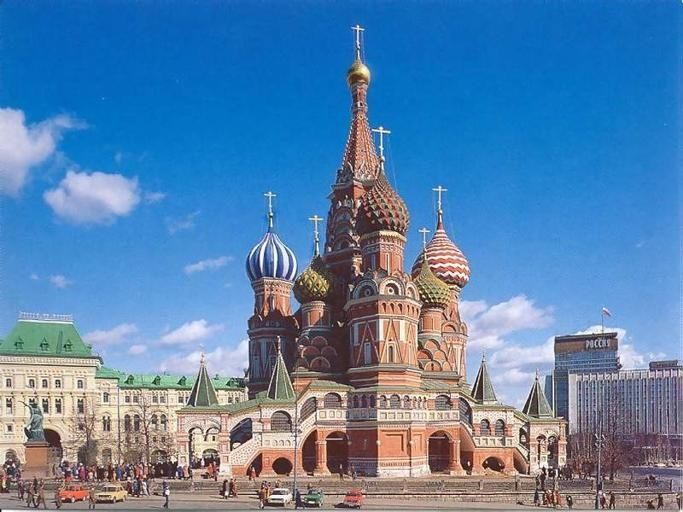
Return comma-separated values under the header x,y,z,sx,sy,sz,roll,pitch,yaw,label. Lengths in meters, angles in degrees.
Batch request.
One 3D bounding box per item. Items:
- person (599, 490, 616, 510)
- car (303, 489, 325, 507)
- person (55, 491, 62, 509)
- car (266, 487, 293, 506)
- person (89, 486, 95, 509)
x,y,z,sx,sy,sz,roll,pitch,yaw,label
22.350,20.728,121.361,0.638,1.242,1.167,-12,15,-29,person
-2.338,19.620,115.962,1.585,1.543,1.023,-1,-14,-4,car
-22.708,19.619,115.087,0.981,1.341,0.410,4,-23,-19,person
-5.030,19.582,116.412,2.057,1.507,0.895,2,-15,-15,car
-19.945,19.443,114.791,0.487,1.632,1.785,1,-15,-10,person
